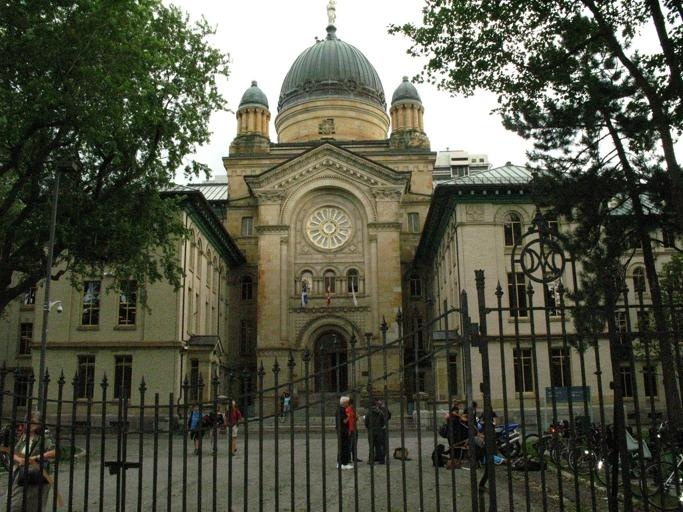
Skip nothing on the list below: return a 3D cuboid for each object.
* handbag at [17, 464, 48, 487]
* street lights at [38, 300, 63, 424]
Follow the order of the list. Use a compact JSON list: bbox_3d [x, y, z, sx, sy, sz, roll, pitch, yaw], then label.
[{"bbox_3d":[-5.404,3.874,11.697,0.523,0.375,0.697,9,-20,-24],"label":"handbag"},{"bbox_3d":[-11.476,3.046,26.167,0.873,3.845,0.612,3,-4,-43],"label":"street lights"}]
